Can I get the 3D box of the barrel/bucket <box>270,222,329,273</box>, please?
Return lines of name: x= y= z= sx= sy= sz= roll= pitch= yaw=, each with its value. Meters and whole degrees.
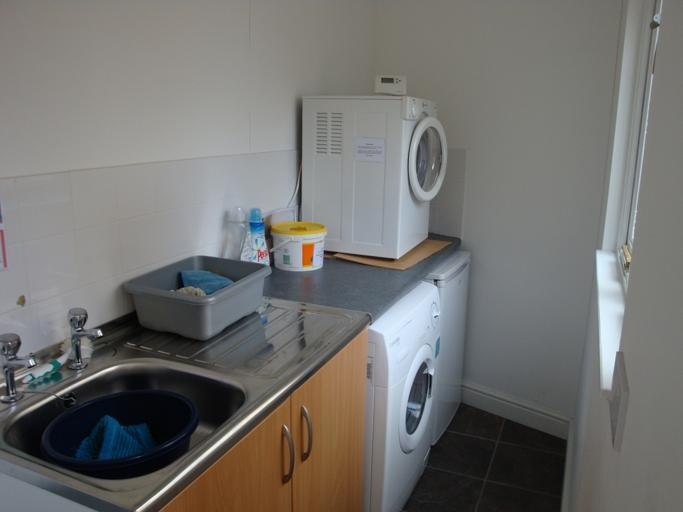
barrel/bucket: x=-0.224 y=-0.061 z=2.505 sx=0.230 sy=0.276 sz=0.252 roll=4 pitch=16 yaw=-1
